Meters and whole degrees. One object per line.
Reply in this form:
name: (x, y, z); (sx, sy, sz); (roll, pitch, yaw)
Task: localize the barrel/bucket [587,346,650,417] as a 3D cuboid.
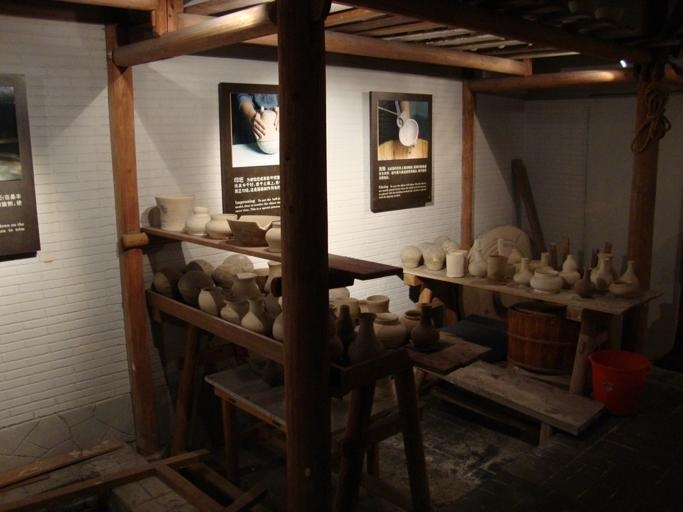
barrel/bucket: (2.698, 1.205, 4.906); (0.616, 0.477, 0.632); (-1, 9, 0)

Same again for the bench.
bench: (1.769, 1.326, 4.834); (1.291, 0.227, 0.578); (7, 16, 34)

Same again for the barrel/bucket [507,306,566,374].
barrel/bucket: (2.219, 0.925, 5.532); (0.671, 0.658, 0.749); (4, 0, -6)

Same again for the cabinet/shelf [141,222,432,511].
cabinet/shelf: (-0.579, 0.958, 3.998); (2.116, 1.838, 0.843); (13, 18, 42)
